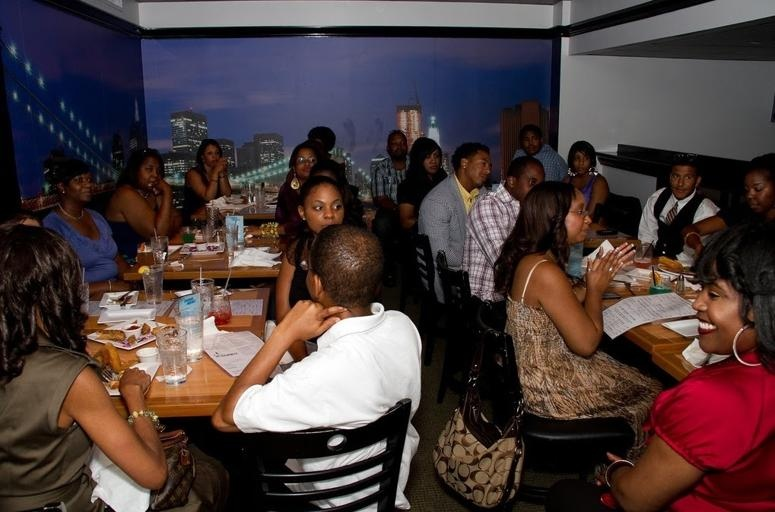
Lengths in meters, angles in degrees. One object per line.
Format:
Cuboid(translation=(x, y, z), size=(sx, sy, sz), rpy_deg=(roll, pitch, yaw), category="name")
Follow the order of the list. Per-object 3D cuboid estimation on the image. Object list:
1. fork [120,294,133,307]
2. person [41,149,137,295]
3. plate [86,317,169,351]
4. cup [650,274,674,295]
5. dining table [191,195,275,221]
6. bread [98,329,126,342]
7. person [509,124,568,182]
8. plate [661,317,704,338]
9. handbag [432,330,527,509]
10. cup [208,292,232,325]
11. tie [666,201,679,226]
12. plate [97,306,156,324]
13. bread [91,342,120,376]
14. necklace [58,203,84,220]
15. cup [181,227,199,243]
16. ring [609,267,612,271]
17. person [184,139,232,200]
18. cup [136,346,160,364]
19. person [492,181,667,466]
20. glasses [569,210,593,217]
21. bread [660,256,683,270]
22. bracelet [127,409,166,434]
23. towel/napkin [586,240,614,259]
Cuboid(translation=(-1.523, 0.259, 2.778), size=(0.033, 0.041, 0.097), rpy_deg=(3, 9, -11), category="fork")
Cuboid(translation=(-2.364, -0.196, 3.767), size=(0.707, 0.996, 0.673), rpy_deg=(18, 17, 19), category="person")
Cuboid(translation=(-1.337, 0.397, 2.415), size=(0.216, 0.027, 0.238), rpy_deg=(4, 19, 21), category="plate")
Cuboid(translation=(1.677, 0.170, 2.958), size=(0.125, 0.125, 0.124), rpy_deg=(-1, 6, 0), category="cup")
Cuboid(translation=(-1.667, -0.544, 5.464), size=(0.726, 0.209, 0.859), rpy_deg=(-6, 15, -10), category="dining table")
Cuboid(translation=(-1.379, 0.389, 2.388), size=(0.080, 0.027, 0.071), rpy_deg=(1, 2, -18), category="bread")
Cuboid(translation=(2.027, -1.347, 6.458), size=(0.885, 0.830, 0.426), rpy_deg=(1, 21, 23), category="person")
Cuboid(translation=(1.431, 0.352, 2.316), size=(0.172, 0.031, 0.186), rpy_deg=(-5, 14, -14), category="plate")
Cuboid(translation=(0.390, 0.725, 2.046), size=(0.307, 0.732, 0.333), rpy_deg=(-10, 17, -25), category="handbag")
Cuboid(translation=(-0.920, 0.291, 2.624), size=(0.116, 0.174, 0.120), rpy_deg=(3, 13, -1), category="cup")
Cuboid(translation=(2.370, -0.352, 3.969), size=(0.033, 0.140, 0.108), rpy_deg=(21, -2, -22), category="tie")
Cuboid(translation=(-1.432, 0.325, 2.615), size=(0.182, 0.026, 0.134), rpy_deg=(-2, 14, -5), category="plate")
Cuboid(translation=(-1.208, 0.445, 2.043), size=(0.136, 0.101, 0.053), rpy_deg=(40, 49, 11), category="bread")
Cuboid(translation=(-2.481, -0.334, 3.721), size=(0.138, 0.038, 0.153), rpy_deg=(-5, 52, -49), category="necklace")
Cuboid(translation=(-1.815, -0.187, 4.344), size=(0.119, 0.172, 0.179), rpy_deg=(-1, -5, 28), category="cup")
Cuboid(translation=(1.143, 0.069, 2.437), size=(0.014, 0.019, 0.006), rpy_deg=(-2, -9, -11), category="ring")
Cuboid(translation=(-2.241, -1.102, 5.987), size=(0.522, 0.740, 0.527), rpy_deg=(6, 15, 12), category="person")
Cuboid(translation=(-1.116, 0.458, 2.204), size=(0.093, 0.057, 0.093), rpy_deg=(1, 3, 0), category="cup")
Cuboid(translation=(1.076, 0.532, 2.678), size=(1.033, 1.804, 0.692), rpy_deg=(-3, 11, -8), category="person")
Cuboid(translation=(1.037, -0.236, 2.632), size=(0.089, 0.027, 0.093), rpy_deg=(0, 1, -7), category="glasses")
Cuboid(translation=(2.010, 0.038, 3.391), size=(0.108, 0.039, 0.107), rpy_deg=(0, 10, -33), category="bread")
Cuboid(translation=(-0.924, 0.626, 1.811), size=(0.143, 0.050, 0.111), rpy_deg=(29, -19, -31), category="bracelet")
Cuboid(translation=(1.436, -0.053, 3.212), size=(0.033, 0.099, 0.141), rpy_deg=(46, 23, 6), category="towel/napkin")
